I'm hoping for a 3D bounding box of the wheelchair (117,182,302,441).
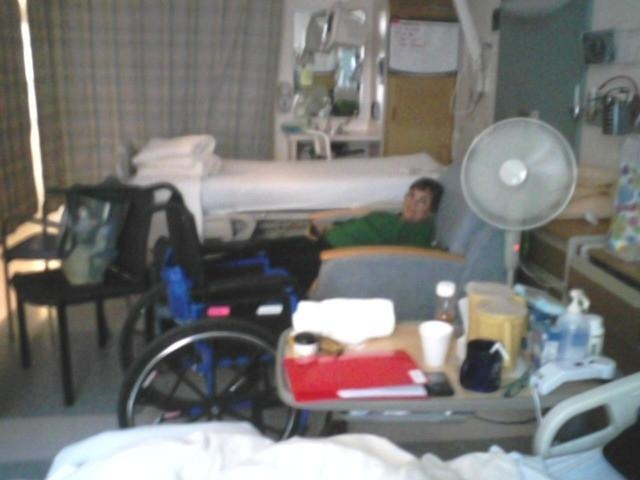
[{"bbox_3d":[-0.378,0.198,2.421,0.862,1.056,0.719,-3,19,-7],"label":"wheelchair"}]

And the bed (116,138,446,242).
[{"bbox_3d":[-0.157,-0.267,1.961,0.782,0.216,0.476,-2,18,-6],"label":"bed"}]

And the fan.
[{"bbox_3d":[0.662,-0.218,1.823,0.366,0.365,0.077,0,15,-6],"label":"fan"}]

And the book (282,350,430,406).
[{"bbox_3d":[0.100,0.414,1.665,0.259,0.043,0.184,-2,17,-1],"label":"book"}]

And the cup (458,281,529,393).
[{"bbox_3d":[0.436,0.289,1.604,0.177,0.291,0.292,0,17,0],"label":"cup"}]

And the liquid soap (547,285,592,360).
[{"bbox_3d":[0.764,0.259,1.649,0.115,0.202,0.093,-9,18,-34],"label":"liquid soap"}]
